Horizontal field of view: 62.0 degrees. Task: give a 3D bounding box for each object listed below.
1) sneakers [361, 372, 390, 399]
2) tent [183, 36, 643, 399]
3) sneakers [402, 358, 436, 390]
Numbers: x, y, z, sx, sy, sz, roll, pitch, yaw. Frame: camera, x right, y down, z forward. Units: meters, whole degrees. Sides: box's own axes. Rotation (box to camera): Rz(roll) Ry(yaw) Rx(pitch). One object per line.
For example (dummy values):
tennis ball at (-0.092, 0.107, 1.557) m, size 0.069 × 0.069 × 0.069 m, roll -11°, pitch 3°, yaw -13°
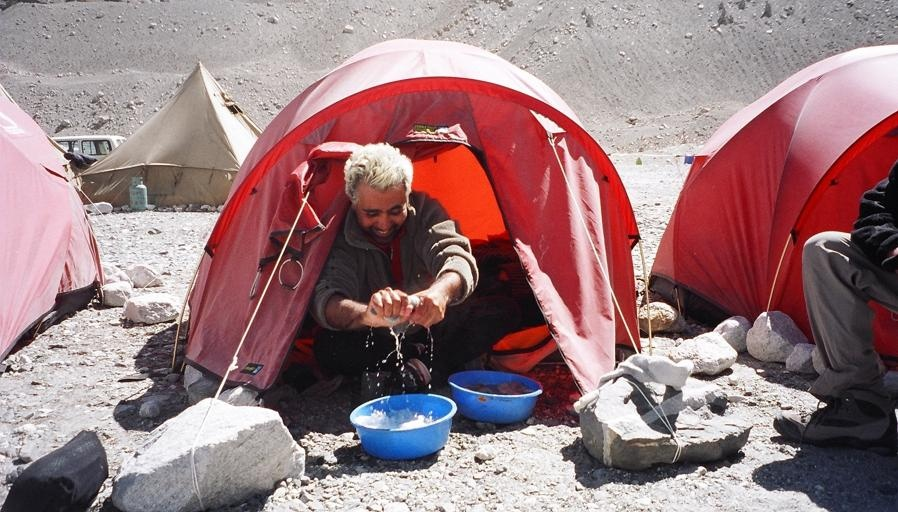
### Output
sneakers at (-0.715, 1.226, 7.267) m, size 0.314 × 0.266 × 0.249 m, roll 1°, pitch -2°, yaw -36°
tent at (-0.373, -0.775, 8.494) m, size 5.240 × 3.114 × 4.473 m, roll -1°, pitch 19°, yaw -6°
sneakers at (-0.312, 1.163, 7.275) m, size 0.260 × 0.293 × 0.251 m, roll -34°, pitch 65°, yaw -10°
